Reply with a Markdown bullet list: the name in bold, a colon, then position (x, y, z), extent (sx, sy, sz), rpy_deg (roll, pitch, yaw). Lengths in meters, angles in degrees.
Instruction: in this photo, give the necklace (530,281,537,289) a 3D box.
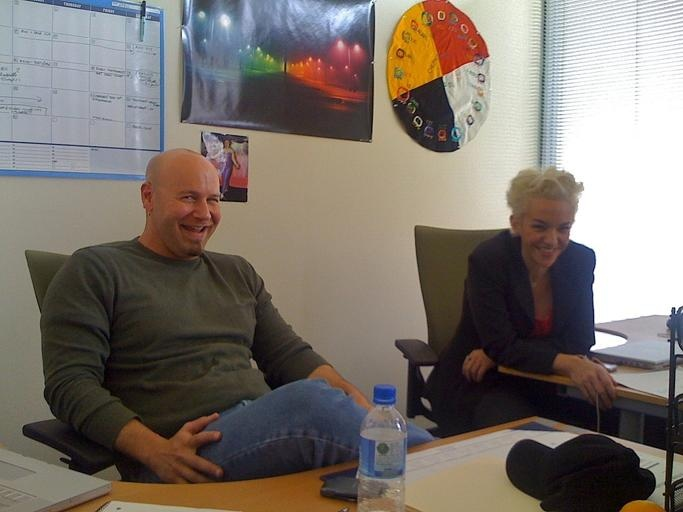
- **necklace**: position (0.751, 0.113, 2.181), extent (0.020, 0.031, 0.021), rpy_deg (-1, -2, -4)
